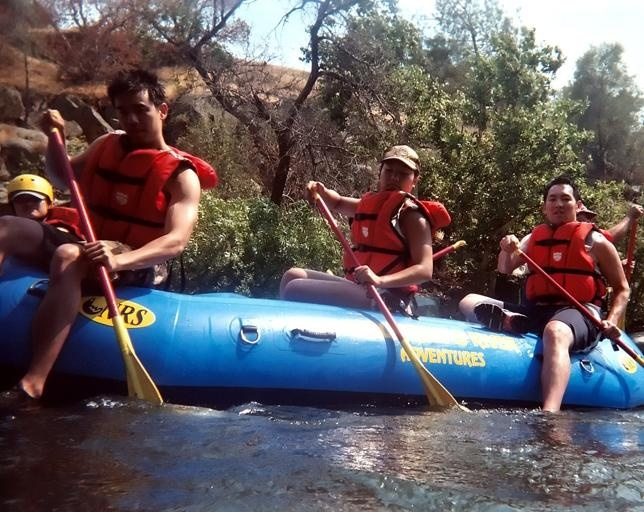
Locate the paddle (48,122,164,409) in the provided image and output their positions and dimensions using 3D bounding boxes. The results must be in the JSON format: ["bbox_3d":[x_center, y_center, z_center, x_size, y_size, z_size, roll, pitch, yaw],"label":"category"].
[{"bbox_3d":[-1.091,0.037,2.967,0.943,1.309,0.261,6,4,43],"label":"paddle"}]

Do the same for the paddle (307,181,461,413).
[{"bbox_3d":[0.436,0.444,3.630,0.202,0.104,1.491,14,20,-26],"label":"paddle"}]

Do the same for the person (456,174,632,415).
[{"bbox_3d":[1.511,0.259,3.895,1.029,1.814,0.965,10,-15,0],"label":"person"}]
